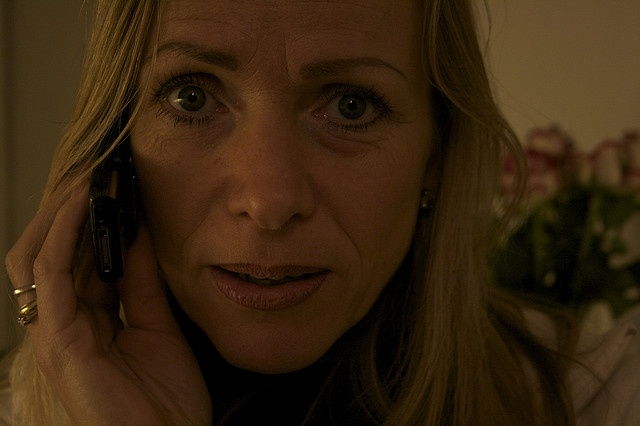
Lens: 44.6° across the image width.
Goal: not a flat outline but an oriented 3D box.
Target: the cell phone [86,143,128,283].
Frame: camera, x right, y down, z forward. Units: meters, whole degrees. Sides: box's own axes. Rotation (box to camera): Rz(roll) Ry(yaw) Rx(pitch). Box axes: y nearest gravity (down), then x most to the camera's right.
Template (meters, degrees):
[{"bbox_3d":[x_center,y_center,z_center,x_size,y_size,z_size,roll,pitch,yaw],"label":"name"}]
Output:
[{"bbox_3d":[-0.574,-0.003,2.135,0.104,0.368,0.097,0,-11,-18],"label":"cell phone"}]

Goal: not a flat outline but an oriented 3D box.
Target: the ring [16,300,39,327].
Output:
[{"bbox_3d":[-0.806,0.275,2.164,0.068,0.066,0.019,-7,-11,15],"label":"ring"}]
